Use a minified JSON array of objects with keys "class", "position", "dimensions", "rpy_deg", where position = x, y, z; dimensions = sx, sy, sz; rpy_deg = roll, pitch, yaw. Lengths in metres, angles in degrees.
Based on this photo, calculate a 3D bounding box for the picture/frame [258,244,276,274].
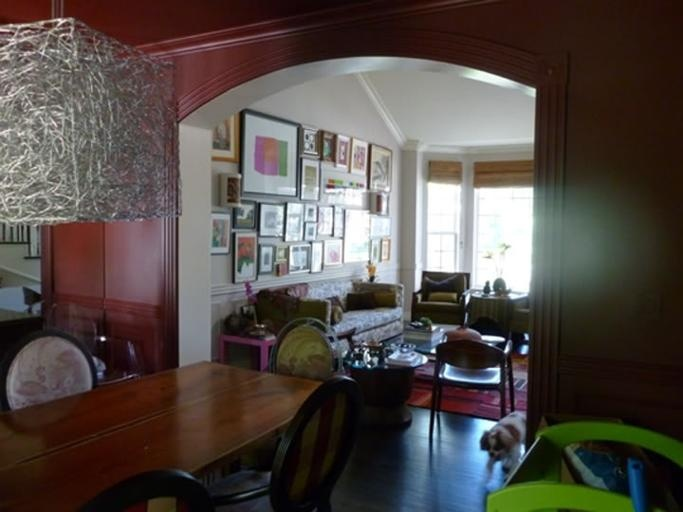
[{"class":"picture/frame","position":[-0.865,0.025,5.769],"dimensions":[0.049,0.399,0.327],"rpy_deg":[0,1,34]}]

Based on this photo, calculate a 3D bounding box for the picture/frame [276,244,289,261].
[{"class":"picture/frame","position":[-0.711,-0.047,6.011],"dimensions":[0.025,0.155,0.175],"rpy_deg":[3,8,31]}]

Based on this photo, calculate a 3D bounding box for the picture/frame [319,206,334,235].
[{"class":"picture/frame","position":[-0.210,-0.477,6.724],"dimensions":[0.044,0.339,0.340],"rpy_deg":[0,7,26]}]

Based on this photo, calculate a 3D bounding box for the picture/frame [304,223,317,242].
[{"class":"picture/frame","position":[-0.405,-0.307,6.435],"dimensions":[0.031,0.233,0.192],"rpy_deg":[-1,-12,34]}]

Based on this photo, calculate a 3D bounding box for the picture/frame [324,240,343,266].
[{"class":"picture/frame","position":[-0.122,-0.049,6.908],"dimensions":[0.033,0.285,0.318],"rpy_deg":[-1,7,31]}]

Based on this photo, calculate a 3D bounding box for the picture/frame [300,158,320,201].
[{"class":"picture/frame","position":[-0.408,-0.968,6.368],"dimensions":[0.051,0.547,0.542],"rpy_deg":[0,-1,27]}]

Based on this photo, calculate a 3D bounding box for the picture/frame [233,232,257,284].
[{"class":"picture/frame","position":[-1.050,0.010,5.502],"dimensions":[0.038,0.551,0.330],"rpy_deg":[5,5,37]}]

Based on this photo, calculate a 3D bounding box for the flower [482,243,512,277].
[{"class":"flower","position":[2.792,0.039,8.905],"dimensions":[0.504,0.767,0.571],"rpy_deg":[2,1,6]}]

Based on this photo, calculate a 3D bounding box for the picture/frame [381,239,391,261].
[{"class":"picture/frame","position":[0.719,-0.102,8.206],"dimensions":[0.047,0.266,0.356],"rpy_deg":[-1,1,22]}]

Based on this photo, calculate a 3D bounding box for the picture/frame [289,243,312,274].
[{"class":"picture/frame","position":[-0.522,0.025,6.307],"dimensions":[0.037,0.312,0.357],"rpy_deg":[0,3,32]}]

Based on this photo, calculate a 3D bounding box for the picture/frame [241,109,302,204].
[{"class":"picture/frame","position":[-0.822,-1.132,5.699],"dimensions":[0.116,1.116,1.129],"rpy_deg":[-1,-1,34]}]

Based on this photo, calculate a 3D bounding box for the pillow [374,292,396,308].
[{"class":"pillow","position":[0.615,0.629,7.098],"dimensions":[0.219,0.289,0.219],"rpy_deg":[-6,-4,38]}]

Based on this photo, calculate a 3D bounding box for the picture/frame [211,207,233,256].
[{"class":"picture/frame","position":[-1.232,-0.264,5.175],"dimensions":[0.018,0.505,0.485],"rpy_deg":[0,0,22]}]

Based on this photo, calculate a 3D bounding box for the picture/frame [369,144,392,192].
[{"class":"picture/frame","position":[0.598,-1.394,7.936],"dimensions":[0.082,0.712,0.795],"rpy_deg":[0,1,27]}]

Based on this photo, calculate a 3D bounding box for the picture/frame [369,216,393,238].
[{"class":"picture/frame","position":[0.631,-0.469,8.068],"dimensions":[0.059,0.349,0.738],"rpy_deg":[5,5,28]}]

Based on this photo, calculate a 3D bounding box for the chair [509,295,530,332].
[{"class":"chair","position":[2.511,0.836,7.064],"dimensions":[0.214,0.489,0.601],"rpy_deg":[4,5,23]}]

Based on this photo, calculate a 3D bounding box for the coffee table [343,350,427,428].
[{"class":"coffee table","position":[0.323,1.032,4.508],"dimensions":[0.764,0.571,0.820],"rpy_deg":[-1,2,-7]}]

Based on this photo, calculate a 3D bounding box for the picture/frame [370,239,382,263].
[{"class":"picture/frame","position":[0.536,-0.083,7.936],"dimensions":[0.055,0.405,0.341],"rpy_deg":[4,5,35]}]

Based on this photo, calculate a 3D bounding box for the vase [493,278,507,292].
[{"class":"vase","position":[2.336,0.426,7.407],"dimensions":[0.193,0.186,0.256],"rpy_deg":[4,5,19]}]

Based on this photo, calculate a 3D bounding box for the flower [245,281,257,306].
[{"class":"flower","position":[-0.989,0.398,5.501],"dimensions":[0.115,0.274,0.330],"rpy_deg":[2,5,-11]}]

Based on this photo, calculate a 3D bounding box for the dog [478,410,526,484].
[{"class":"dog","position":[1.222,1.324,3.632],"dimensions":[0.205,0.373,0.686],"rpy_deg":[7,8,42]}]

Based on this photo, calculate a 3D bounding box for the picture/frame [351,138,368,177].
[{"class":"picture/frame","position":[0.255,-1.450,7.381],"dimensions":[0.041,0.591,0.587],"rpy_deg":[0,-1,27]}]

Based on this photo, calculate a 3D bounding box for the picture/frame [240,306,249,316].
[{"class":"picture/frame","position":[-1.028,0.597,5.390],"dimensions":[0.076,0.153,0.078],"rpy_deg":[0,-1,31]}]

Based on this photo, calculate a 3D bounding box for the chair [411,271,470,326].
[{"class":"chair","position":[1.543,0.640,7.732],"dimensions":[0.704,0.833,0.820],"rpy_deg":[1,-4,20]}]

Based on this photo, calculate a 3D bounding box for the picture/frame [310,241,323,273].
[{"class":"picture/frame","position":[-0.330,0.003,6.587],"dimensions":[0.033,0.484,0.404],"rpy_deg":[0,1,26]}]

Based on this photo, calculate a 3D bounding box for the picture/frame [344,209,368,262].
[{"class":"picture/frame","position":[0.197,-0.310,7.367],"dimensions":[0.055,0.765,0.769],"rpy_deg":[1,1,30]}]

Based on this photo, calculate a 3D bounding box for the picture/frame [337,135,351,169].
[{"class":"picture/frame","position":[0.023,-1.447,6.993],"dimensions":[0.051,0.553,0.483],"rpy_deg":[-1,0,27]}]

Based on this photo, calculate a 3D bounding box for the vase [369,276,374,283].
[{"class":"vase","position":[0.461,0.348,7.566],"dimensions":[0.073,0.073,0.089],"rpy_deg":[5,12,11]}]

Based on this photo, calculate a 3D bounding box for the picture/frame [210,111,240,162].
[{"class":"picture/frame","position":[-1.186,-1.232,5.189],"dimensions":[0.068,0.524,0.375],"rpy_deg":[4,4,27]}]

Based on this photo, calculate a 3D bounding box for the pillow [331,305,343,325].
[{"class":"pillow","position":[-0.052,0.679,5.845],"dimensions":[0.160,0.177,0.195],"rpy_deg":[-9,0,-35]}]

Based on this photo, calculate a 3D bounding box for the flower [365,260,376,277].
[{"class":"flower","position":[0.449,0.198,7.694],"dimensions":[0.173,0.167,0.189],"rpy_deg":[-24,26,-37]}]

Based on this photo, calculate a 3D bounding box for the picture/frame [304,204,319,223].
[{"class":"picture/frame","position":[-0.391,-0.542,6.435],"dimensions":[0.032,0.256,0.218],"rpy_deg":[-1,8,36]}]

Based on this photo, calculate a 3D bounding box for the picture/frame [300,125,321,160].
[{"class":"picture/frame","position":[-0.398,-1.428,6.326],"dimensions":[0.048,0.405,0.456],"rpy_deg":[0,3,28]}]

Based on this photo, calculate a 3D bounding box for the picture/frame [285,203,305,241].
[{"class":"picture/frame","position":[-0.576,-0.424,6.146],"dimensions":[0.062,0.517,0.442],"rpy_deg":[0,0,28]}]

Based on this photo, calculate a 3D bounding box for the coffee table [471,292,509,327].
[{"class":"coffee table","position":[2.094,0.741,7.115],"dimensions":[0.403,0.291,0.412],"rpy_deg":[2,3,39]}]

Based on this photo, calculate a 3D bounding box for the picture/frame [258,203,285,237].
[{"class":"picture/frame","position":[-0.811,-0.416,5.783],"dimensions":[0.049,0.350,0.388],"rpy_deg":[-1,1,31]}]

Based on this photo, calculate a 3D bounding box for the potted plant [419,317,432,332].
[{"class":"potted plant","position":[0.974,0.768,5.752],"dimensions":[0.114,0.099,0.134],"rpy_deg":[0,-1,-16]}]
